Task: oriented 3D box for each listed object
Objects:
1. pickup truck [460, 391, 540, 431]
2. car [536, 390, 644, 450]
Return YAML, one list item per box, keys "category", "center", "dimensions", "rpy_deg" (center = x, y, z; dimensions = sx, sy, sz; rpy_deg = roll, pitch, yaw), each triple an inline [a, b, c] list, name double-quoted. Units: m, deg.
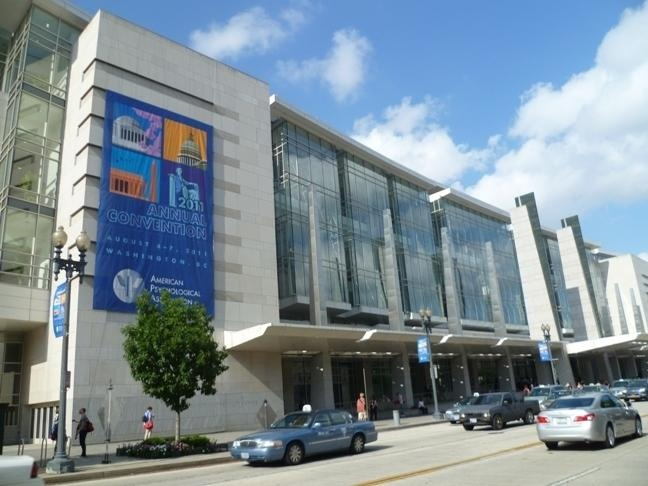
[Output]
- category: "pickup truck"
  center: [9.338, 8.784, 26.156]
  dimensions: [3.725, 1.345, 2.030]
  rpy_deg: [16, -28, -41]
- category: "car"
  center: [9.687, 6.458, 17.991]
  dimensions: [3.992, 1.848, 1.520]
  rpy_deg: [7, -23, -32]
